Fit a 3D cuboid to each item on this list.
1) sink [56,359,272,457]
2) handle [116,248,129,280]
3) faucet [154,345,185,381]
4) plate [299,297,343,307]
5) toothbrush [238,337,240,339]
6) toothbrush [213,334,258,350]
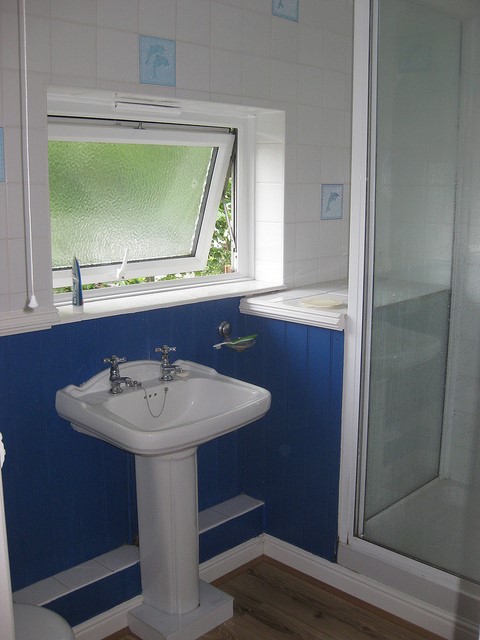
[{"bbox_3d":[-0.233,0.282,1.894,0.511,0.218,0.585,7,10,42],"label":"sink"},{"bbox_3d":[-0.488,-0.235,2.368,0.030,0.130,0.076,4,8,24],"label":"handle"},{"bbox_3d":[-0.251,0.151,2.124,0.116,0.139,0.101,6,14,26],"label":"faucet"},{"bbox_3d":[0.332,-0.074,2.331,0.171,0.021,0.212,2,8,8],"label":"plate"},{"bbox_3d":[-0.006,0.078,2.459,0.006,0.012,0.006,11,9,24],"label":"toothbrush"},{"bbox_3d":[-0.025,0.092,2.382,0.125,0.026,0.023,-18,30,2],"label":"toothbrush"}]
